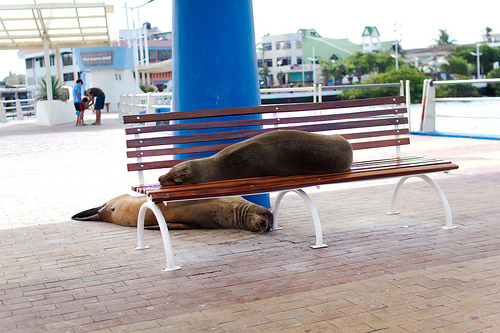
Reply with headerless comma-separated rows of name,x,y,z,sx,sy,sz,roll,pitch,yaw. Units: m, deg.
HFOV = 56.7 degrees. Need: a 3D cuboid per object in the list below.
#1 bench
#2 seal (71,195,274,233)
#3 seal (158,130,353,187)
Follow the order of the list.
bench,0.005,-0.133,6.966,6.547,1.968,2.999,-3,6,-15
seal,-0.928,0.568,5.645,2.515,0.258,0.724,-3,-4,26
seal,0.082,-0.074,4.858,2.170,0.318,0.586,-8,10,-2
